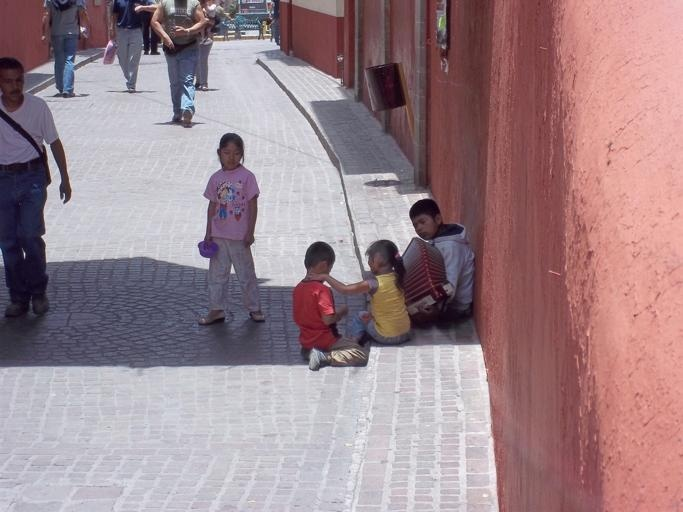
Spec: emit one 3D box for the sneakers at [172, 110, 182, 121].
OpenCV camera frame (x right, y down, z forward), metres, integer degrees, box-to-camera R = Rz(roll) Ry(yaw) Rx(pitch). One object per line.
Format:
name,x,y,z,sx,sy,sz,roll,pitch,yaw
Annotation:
sneakers,-2.771,-2.321,15.173,0.112,0.139,0.317,1,13,-5

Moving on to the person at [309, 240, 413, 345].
person,0.122,0.232,6.195,0.700,0.803,0.646,-7,9,-34

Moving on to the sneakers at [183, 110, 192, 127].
sneakers,-2.509,-2.220,14.631,0.153,0.302,0.393,-5,19,-9

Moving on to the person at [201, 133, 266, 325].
person,-0.858,-0.197,6.748,0.494,1.418,0.258,-4,17,-7

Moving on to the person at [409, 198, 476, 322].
person,0.727,0.047,6.285,0.421,0.798,0.564,-4,18,-6

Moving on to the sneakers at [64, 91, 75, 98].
sneakers,-5.401,-3.161,17.864,0.227,0.084,0.102,-1,7,21

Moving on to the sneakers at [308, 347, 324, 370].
sneakers,-0.169,0.671,5.947,0.077,0.154,0.070,10,-3,-1

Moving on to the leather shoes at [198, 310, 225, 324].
leather shoes,-0.975,0.449,6.843,0.217,0.165,0.081,0,7,-16
